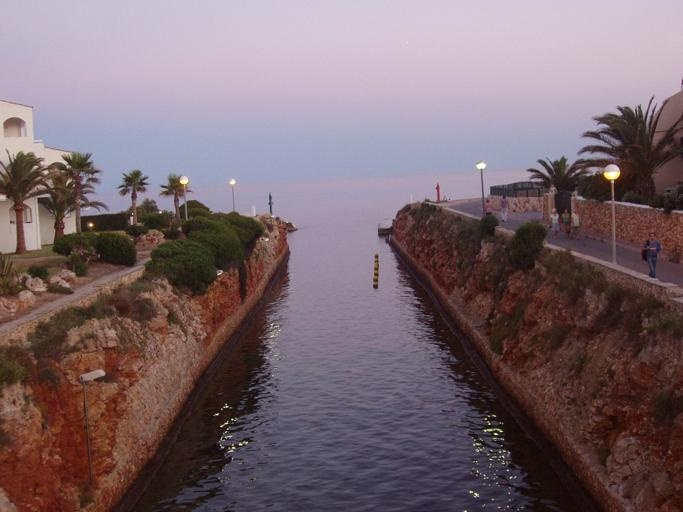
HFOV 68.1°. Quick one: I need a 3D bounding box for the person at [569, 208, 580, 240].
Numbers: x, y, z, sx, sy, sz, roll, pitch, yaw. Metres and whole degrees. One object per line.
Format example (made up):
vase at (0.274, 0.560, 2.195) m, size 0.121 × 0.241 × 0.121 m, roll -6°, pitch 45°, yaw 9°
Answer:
person at (18.341, -2.391, 39.606) m, size 0.456 × 1.872 × 1.024 m, roll 1°, pitch 8°, yaw 19°
